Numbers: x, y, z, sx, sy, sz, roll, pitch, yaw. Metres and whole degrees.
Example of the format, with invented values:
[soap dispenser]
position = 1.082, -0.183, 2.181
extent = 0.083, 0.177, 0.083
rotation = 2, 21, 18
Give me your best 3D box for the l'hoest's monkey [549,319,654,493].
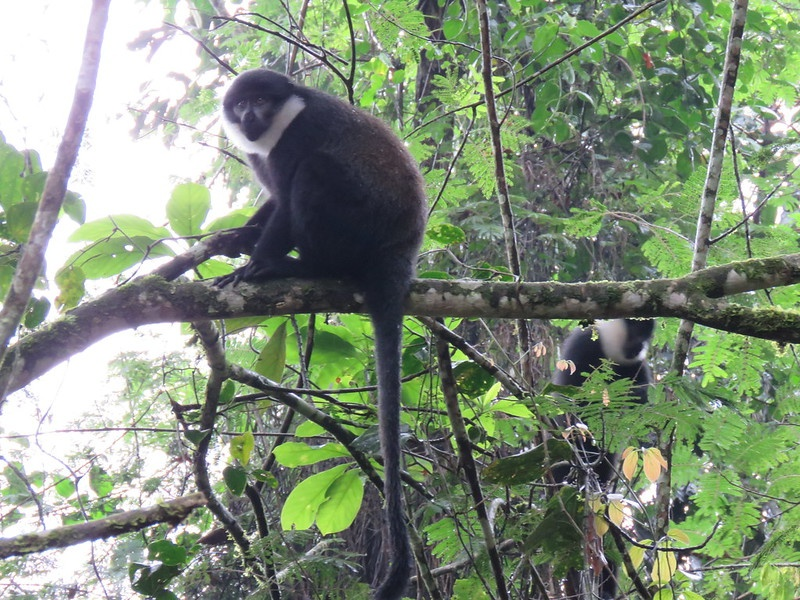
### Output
[l'hoest's monkey]
position = 1.301, 0.691, 5.682
extent = 0.469, 0.770, 1.435
rotation = 6, -66, 3
